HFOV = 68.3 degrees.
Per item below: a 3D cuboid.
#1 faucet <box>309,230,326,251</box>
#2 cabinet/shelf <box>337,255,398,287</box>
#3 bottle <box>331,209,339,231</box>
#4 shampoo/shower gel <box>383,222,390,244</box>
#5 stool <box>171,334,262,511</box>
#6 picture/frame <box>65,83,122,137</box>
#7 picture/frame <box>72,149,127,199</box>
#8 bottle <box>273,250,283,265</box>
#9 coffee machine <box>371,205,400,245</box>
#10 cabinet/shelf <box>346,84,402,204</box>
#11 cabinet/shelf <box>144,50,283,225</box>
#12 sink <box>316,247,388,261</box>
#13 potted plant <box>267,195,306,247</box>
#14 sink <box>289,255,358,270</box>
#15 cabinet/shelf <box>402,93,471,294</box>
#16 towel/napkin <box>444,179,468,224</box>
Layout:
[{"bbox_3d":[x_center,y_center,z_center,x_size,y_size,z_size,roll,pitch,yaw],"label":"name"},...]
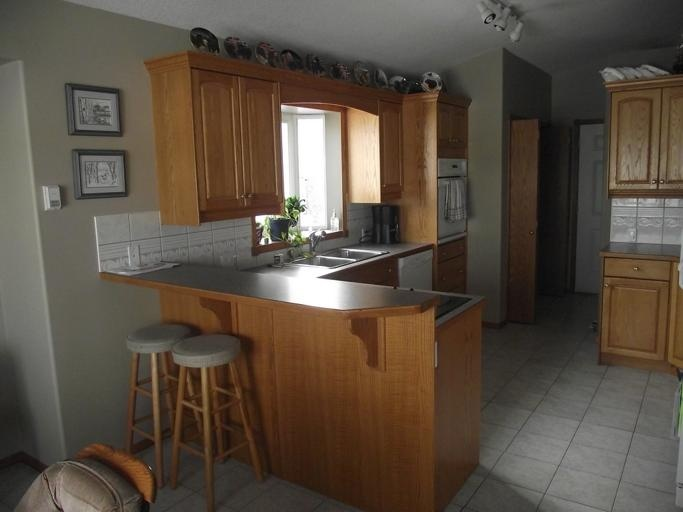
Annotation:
[{"bbox_3d":[-0.234,-0.158,5.060,0.109,0.211,0.342,7,16,21],"label":"faucet"},{"bbox_3d":[0.316,0.150,4.788,0.288,0.354,0.535,4,10,24],"label":"cabinet/shelf"},{"bbox_3d":[-0.064,-0.387,5.415,0.089,0.217,0.114,1,15,-3],"label":"bottle"},{"bbox_3d":[0.510,-0.254,5.658,0.085,0.214,0.048,4,15,9],"label":"shampoo/shower gel"},{"bbox_3d":[-0.908,1.013,3.360,0.523,1.016,0.765,-11,19,-40],"label":"stool"},{"bbox_3d":[-1.682,-0.985,3.375,0.029,0.344,0.396,2,5,34],"label":"picture/frame"},{"bbox_3d":[-1.666,-0.564,3.429,0.024,0.301,0.332,5,11,32],"label":"picture/frame"},{"bbox_3d":[-0.571,0.022,4.704,0.090,0.124,0.114,-1,1,-34],"label":"bottle"},{"bbox_3d":[0.530,-0.356,5.794,0.296,0.434,0.299,-3,4,-18],"label":"coffee machine"},{"bbox_3d":[0.391,-1.155,5.371,0.648,1.149,0.463,-1,15,-10],"label":"cabinet/shelf"},{"bbox_3d":[-0.984,-0.879,3.704,0.578,1.338,1.225,3,9,28],"label":"cabinet/shelf"},{"bbox_3d":[0.133,-0.035,5.211,0.336,0.116,0.274,1,6,36],"label":"sink"},{"bbox_3d":[-0.551,-0.337,4.857,0.334,0.376,0.329,0,5,25],"label":"potted plant"},{"bbox_3d":[-0.223,0.054,4.828,0.241,0.122,0.309,3,6,34],"label":"sink"},{"bbox_3d":[1.128,-0.665,5.858,0.506,2.318,0.666,9,16,44],"label":"cabinet/shelf"},{"bbox_3d":[1.293,-0.637,5.744,0.465,0.631,0.107,-8,13,-40],"label":"towel/napkin"}]
